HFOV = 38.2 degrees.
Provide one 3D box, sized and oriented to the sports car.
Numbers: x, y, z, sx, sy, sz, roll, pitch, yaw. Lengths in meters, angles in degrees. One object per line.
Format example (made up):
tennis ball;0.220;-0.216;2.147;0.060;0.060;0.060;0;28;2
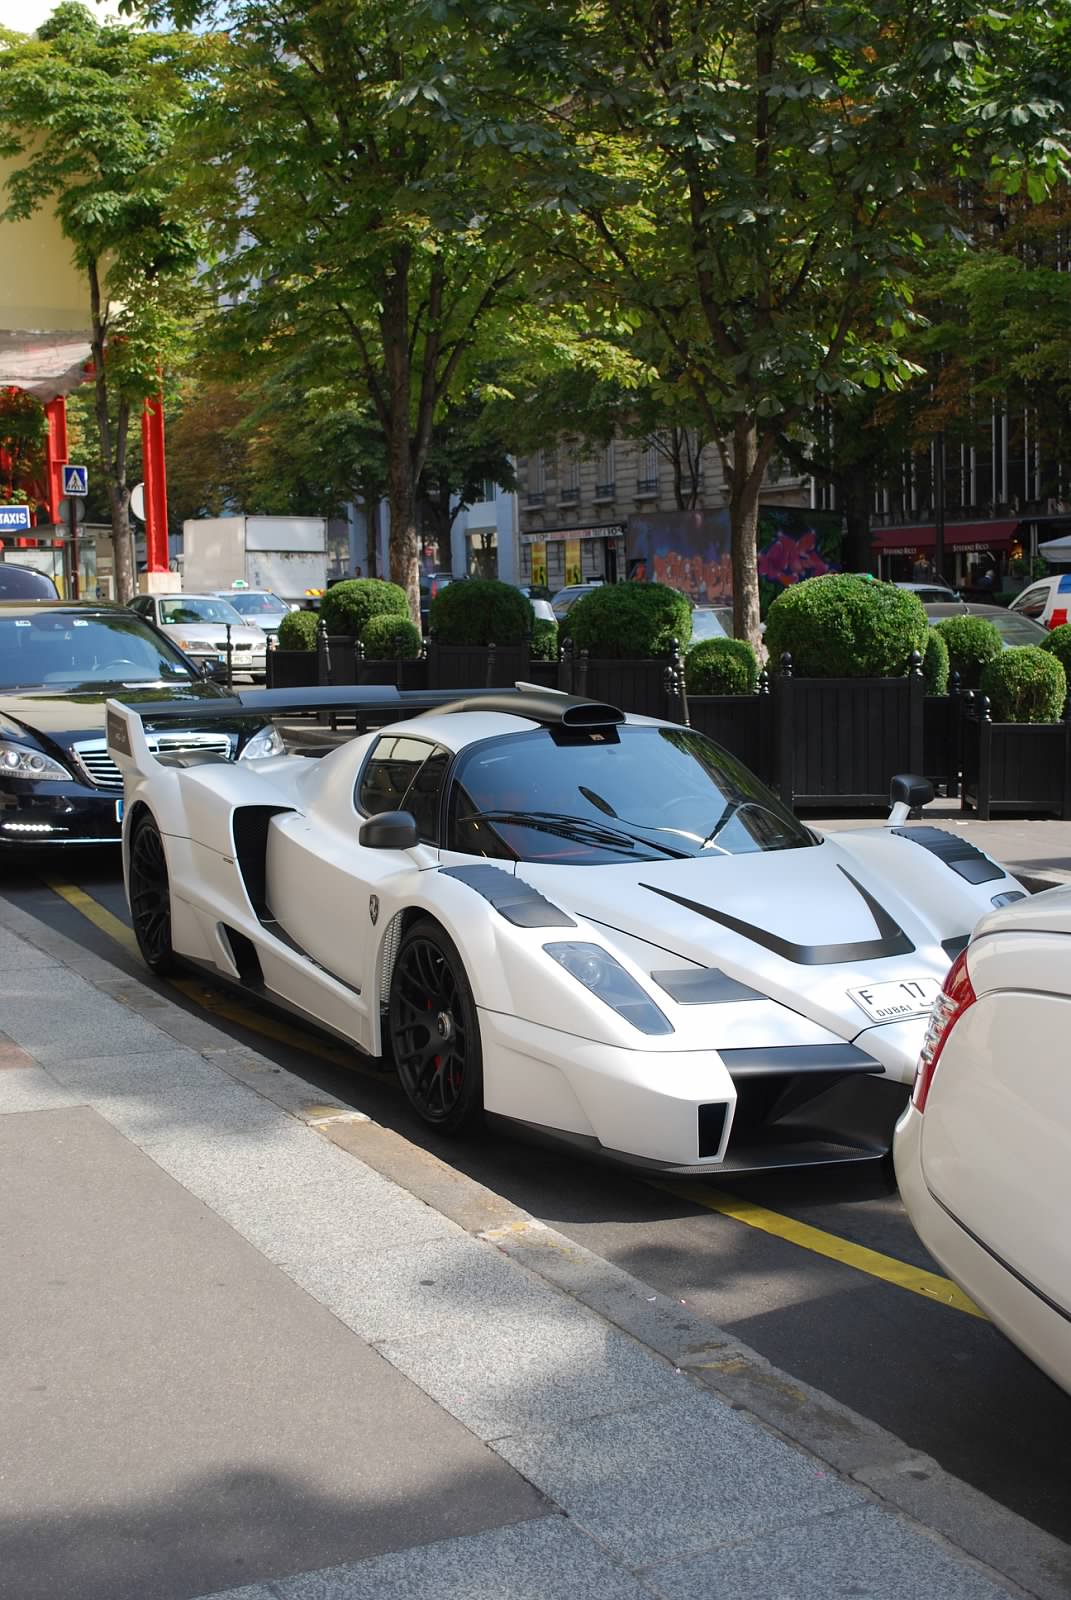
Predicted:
sports car;-0.173;0.262;5.153;1.639;0.909;2.957;-4;12;-36
